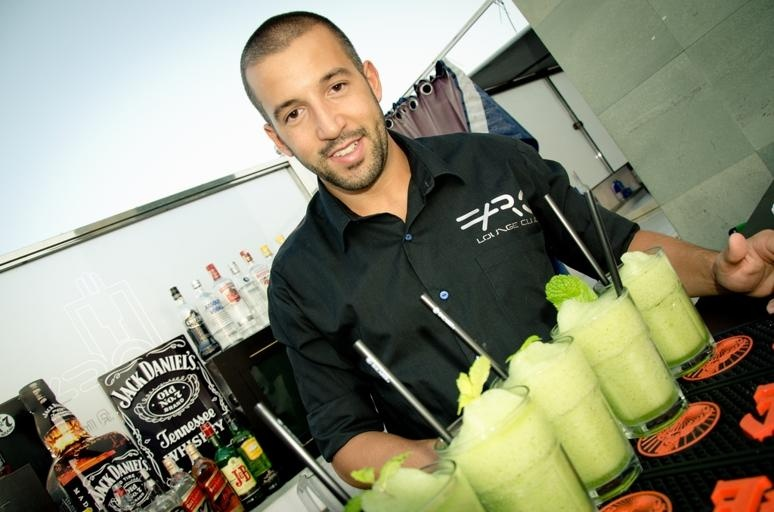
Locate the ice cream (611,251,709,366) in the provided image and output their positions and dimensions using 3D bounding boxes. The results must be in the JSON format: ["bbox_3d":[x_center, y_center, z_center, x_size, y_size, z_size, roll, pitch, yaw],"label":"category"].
[{"bbox_3d":[0.909,0.187,1.448,0.200,0.320,0.194,-8,-26,-25],"label":"ice cream"}]

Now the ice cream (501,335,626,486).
[{"bbox_3d":[0.456,0.409,1.209,0.224,0.345,0.225,-36,-5,7],"label":"ice cream"}]
